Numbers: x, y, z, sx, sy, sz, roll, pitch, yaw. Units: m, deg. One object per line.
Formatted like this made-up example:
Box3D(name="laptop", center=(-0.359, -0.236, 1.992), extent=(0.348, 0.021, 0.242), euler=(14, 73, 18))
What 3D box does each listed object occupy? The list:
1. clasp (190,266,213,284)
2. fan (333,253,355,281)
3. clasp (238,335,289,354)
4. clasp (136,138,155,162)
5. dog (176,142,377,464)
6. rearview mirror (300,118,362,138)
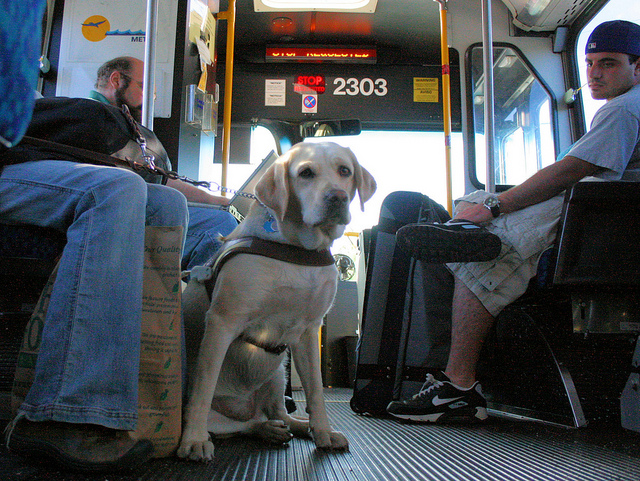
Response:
Box3D(name="clasp", center=(-0.521, 0.150, 2.245), extent=(0.030, 0.065, 0.109), euler=(-4, 2, -31))
Box3D(name="fan", center=(0.274, 0.272, 5.246), extent=(0.239, 0.242, 0.079), euler=(11, -13, -14))
Box3D(name="clasp", center=(-0.242, 0.442, 2.168), extent=(0.124, 0.030, 0.116), euler=(12, -11, 7))
Box3D(name="clasp", center=(-0.844, -0.427, 2.471), extent=(0.029, 0.130, 0.072), euler=(-32, -34, 24))
Box3D(name="dog", center=(-0.169, 0.191, 2.146), extent=(0.786, 1.287, 0.555), euler=(2, -2, -16))
Box3D(name="rearview mirror", center=(0.115, -1.173, 5.365), extent=(0.642, 0.205, 0.123), euler=(1, -2, 8))
